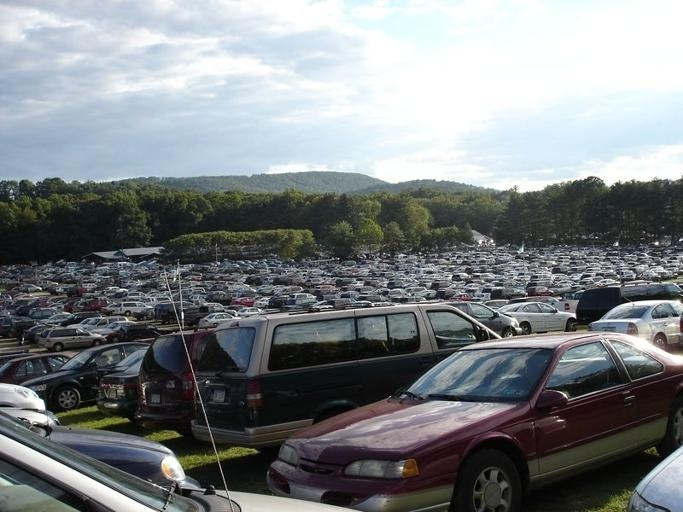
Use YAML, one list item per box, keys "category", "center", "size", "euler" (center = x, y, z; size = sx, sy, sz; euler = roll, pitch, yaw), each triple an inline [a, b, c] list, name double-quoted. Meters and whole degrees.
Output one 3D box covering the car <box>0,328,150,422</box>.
- category: "car"
  center: [-7.048, 3.474, 14.375]
  size: [4.897, 1.161, 1.847]
  euler: [-3, -4, -33]
